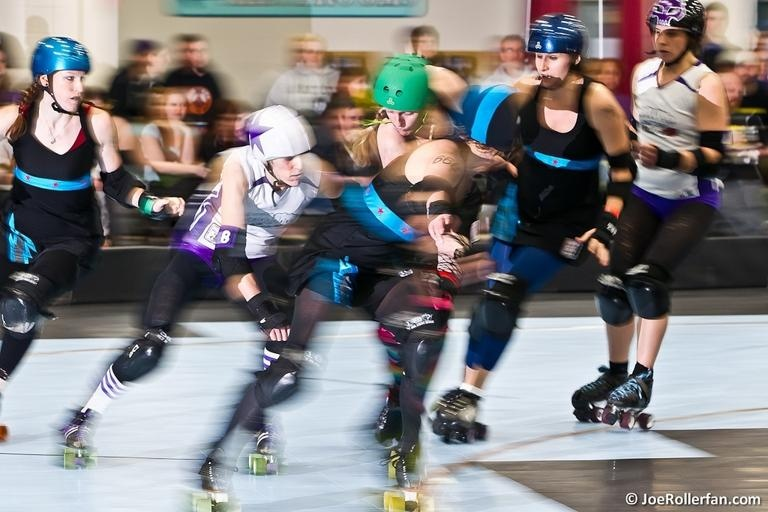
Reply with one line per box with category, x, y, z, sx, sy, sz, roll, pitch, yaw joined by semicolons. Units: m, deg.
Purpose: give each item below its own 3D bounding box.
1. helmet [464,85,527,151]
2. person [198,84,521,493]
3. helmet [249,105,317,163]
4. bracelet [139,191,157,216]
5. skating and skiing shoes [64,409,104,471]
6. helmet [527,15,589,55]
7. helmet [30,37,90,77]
helmet;0.530;-0.703;4.243;0.314;0.337;0.342;-7;14;-33
person;-0.106;0.114;3.516;0.883;1.667;0.621;1;10;2
helmet;-0.454;-0.521;3.574;0.287;0.171;0.205;6;20;27
bracelet;-1.189;-0.264;4.235;0.093;0.113;0.095;5;2;34
skating and skiing shoes;-1.460;0.891;4.019;0.119;0.315;0.130;-3;-3;-13
helmet;0.898;-1.142;4.265;0.264;0.151;0.227;-2;18;1
helmet;-1.586;-0.997;4.089;0.255;0.180;0.194;7;19;8
